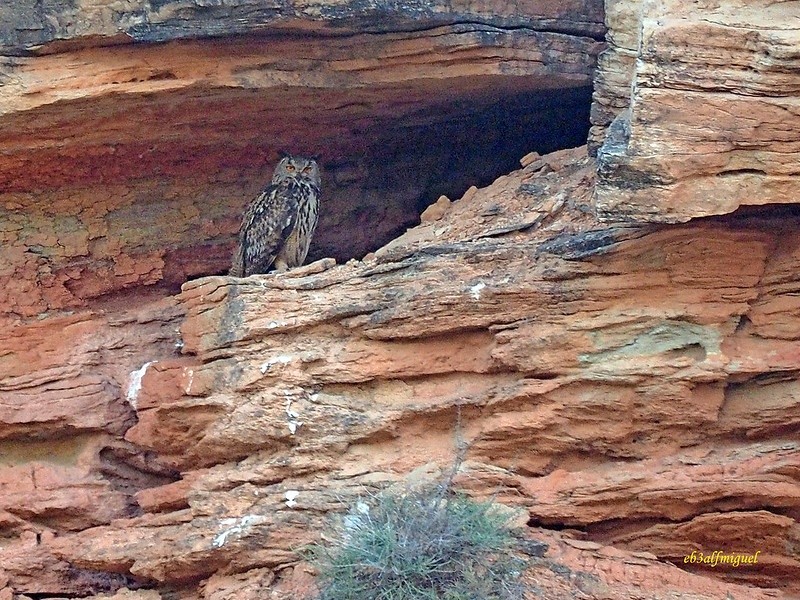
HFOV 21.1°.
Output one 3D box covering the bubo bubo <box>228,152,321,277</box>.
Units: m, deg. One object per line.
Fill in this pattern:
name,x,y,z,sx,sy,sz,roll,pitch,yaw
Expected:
bubo bubo,-0.800,-0.556,14.223,0.367,0.798,0.614,14,21,29
